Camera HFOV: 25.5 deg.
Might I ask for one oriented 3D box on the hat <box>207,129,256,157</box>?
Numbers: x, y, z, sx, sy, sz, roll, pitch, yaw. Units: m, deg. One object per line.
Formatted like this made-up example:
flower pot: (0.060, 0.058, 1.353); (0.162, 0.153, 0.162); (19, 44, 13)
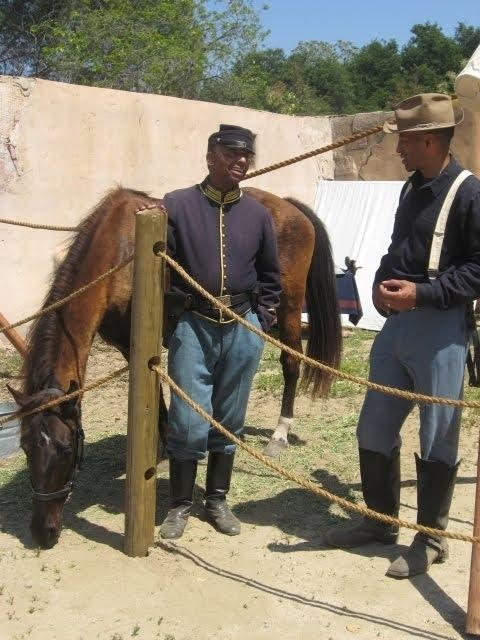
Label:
hat: (-0.054, -0.899, 5.256); (0.154, 0.080, 0.196); (2, 14, -39)

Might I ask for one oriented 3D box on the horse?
horse: (-0.341, 0.008, 6.227); (0.737, 1.773, 2.827); (10, 20, 35)

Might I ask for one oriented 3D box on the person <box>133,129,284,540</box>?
person: (-0.149, 0.056, 5.327); (0.470, 2.022, 0.794); (9, 15, 31)

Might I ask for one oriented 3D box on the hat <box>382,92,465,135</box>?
hat: (0.845, -0.955, 4.909); (0.362, 0.186, 0.313); (3, 13, 9)
